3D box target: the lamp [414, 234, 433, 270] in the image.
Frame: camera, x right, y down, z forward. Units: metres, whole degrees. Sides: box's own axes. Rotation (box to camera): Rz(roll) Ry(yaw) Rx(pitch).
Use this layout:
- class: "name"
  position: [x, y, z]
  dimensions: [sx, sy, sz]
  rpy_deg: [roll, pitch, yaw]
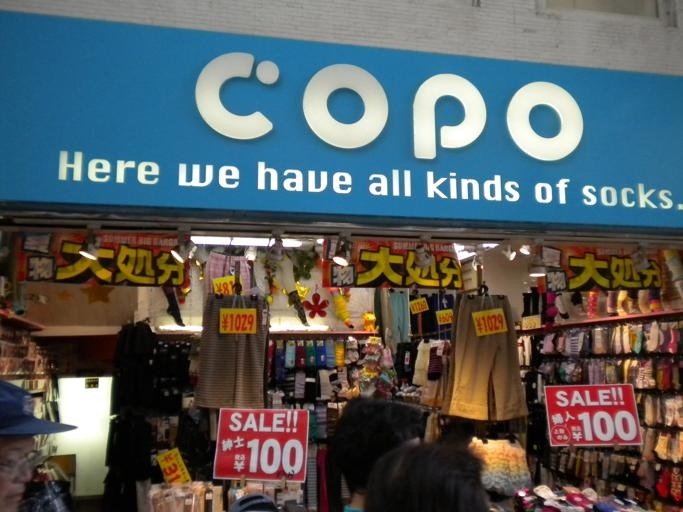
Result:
- class: "lamp"
  position: [0.659, -0.027, 4.968]
  dimensions: [0.159, 0.255, 0.233]
  rpy_deg: [-6, -45, 15]

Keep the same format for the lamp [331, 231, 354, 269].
- class: "lamp"
  position: [0.016, -0.039, 4.143]
  dimensions: [0.095, 0.189, 0.118]
  rpy_deg: [9, -35, -28]

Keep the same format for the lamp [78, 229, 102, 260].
- class: "lamp"
  position: [-1.772, -0.087, 4.225]
  dimensions: [0.129, 0.212, 0.090]
  rpy_deg: [9, -40, 5]

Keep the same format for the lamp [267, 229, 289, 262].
- class: "lamp"
  position: [-0.460, -0.066, 4.242]
  dimensions: [0.147, 0.229, 0.535]
  rpy_deg: [1, 4, -5]

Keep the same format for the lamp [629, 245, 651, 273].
- class: "lamp"
  position: [2.383, 0.021, 4.842]
  dimensions: [0.178, 0.174, 0.273]
  rpy_deg: [21, 24, 33]
